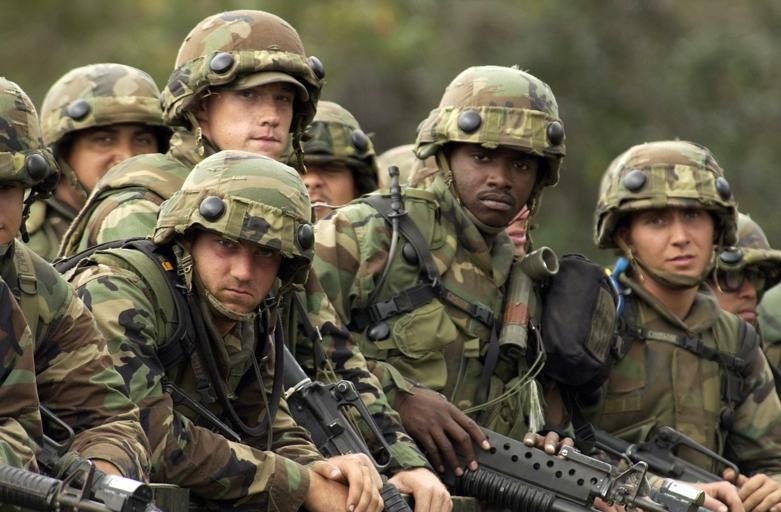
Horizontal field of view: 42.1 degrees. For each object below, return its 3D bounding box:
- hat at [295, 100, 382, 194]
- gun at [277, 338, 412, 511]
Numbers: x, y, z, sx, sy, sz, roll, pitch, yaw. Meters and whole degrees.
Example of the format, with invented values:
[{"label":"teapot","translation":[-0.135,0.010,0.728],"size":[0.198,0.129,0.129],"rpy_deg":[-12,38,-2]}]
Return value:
[{"label":"hat","translation":[-0.508,-1.242,10.699],"size":[0.711,0.888,0.971],"rpy_deg":[6,-11,-7]},{"label":"gun","translation":[-0.379,1.309,7.677],"size":[0.478,1.293,0.185],"rpy_deg":[-34,-17,1]}]
